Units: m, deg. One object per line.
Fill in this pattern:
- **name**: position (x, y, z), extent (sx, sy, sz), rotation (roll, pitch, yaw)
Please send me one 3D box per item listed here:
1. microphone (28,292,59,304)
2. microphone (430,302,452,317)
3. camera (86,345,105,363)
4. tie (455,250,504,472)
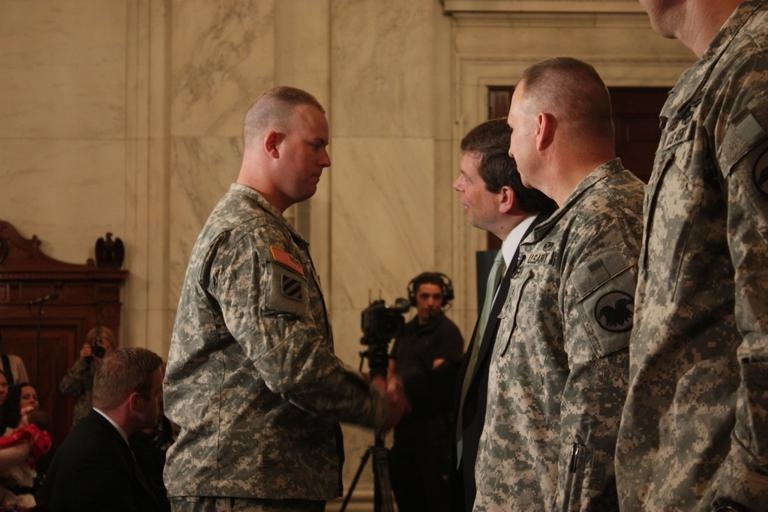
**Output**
- **microphone**: position (-2.577, 0.323, 10.979), extent (0.149, 0.040, 0.111), rotation (-13, 3, 26)
- **microphone**: position (0.385, 0.366, 10.049), extent (0.117, 0.104, 0.092), rotation (10, -3, 17)
- **camera**: position (-2.126, 0.721, 10.684), extent (0.099, 0.109, 0.083), rotation (2, -27, 2)
- **tie**: position (0.545, 0.627, 8.342), extent (0.127, 1.530, 0.115), rotation (-1, -35, 26)
